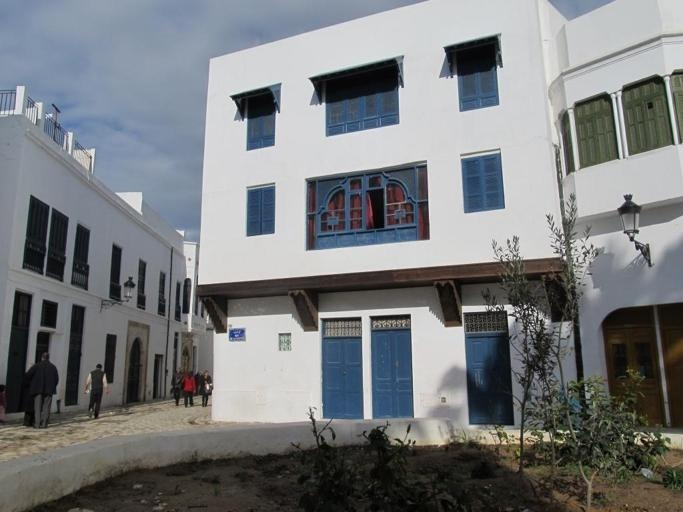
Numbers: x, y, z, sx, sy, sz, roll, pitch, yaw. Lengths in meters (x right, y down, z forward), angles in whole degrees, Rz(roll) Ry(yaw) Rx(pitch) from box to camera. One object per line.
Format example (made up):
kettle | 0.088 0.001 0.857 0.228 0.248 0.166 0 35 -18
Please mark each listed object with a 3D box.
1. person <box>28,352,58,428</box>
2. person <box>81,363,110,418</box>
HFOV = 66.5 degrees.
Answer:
person | -8.622 3.873 15.010 0.710 2.102 0.611 7 -17 -32
person | -8.789 4.835 18.665 0.612 1.920 1.447 5 -16 -26
